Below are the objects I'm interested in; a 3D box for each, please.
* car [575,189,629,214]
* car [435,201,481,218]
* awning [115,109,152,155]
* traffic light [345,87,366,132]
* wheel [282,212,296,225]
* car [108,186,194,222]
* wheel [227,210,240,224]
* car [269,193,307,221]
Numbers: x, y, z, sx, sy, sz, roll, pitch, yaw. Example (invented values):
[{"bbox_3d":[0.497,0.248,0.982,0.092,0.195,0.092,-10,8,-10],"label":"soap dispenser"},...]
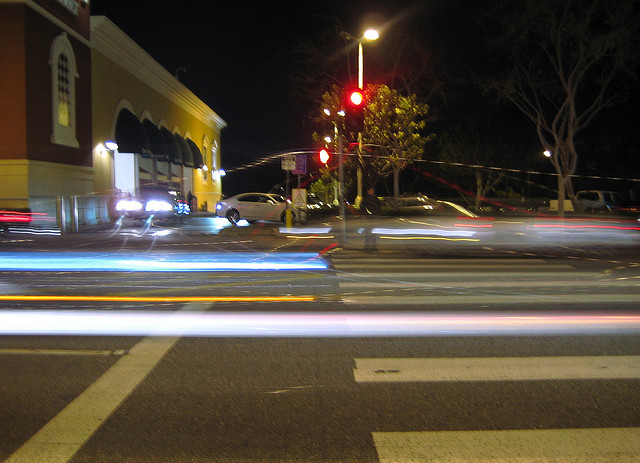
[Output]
[{"bbox_3d":[20.009,-2.197,39.640,2.622,1.362,4.423,3,9,20],"label":"car"},{"bbox_3d":[8.666,-1.400,34.628,0.963,0.967,3.262,-2,22,-24],"label":"car"},{"bbox_3d":[-11.556,-6.149,33.885,1.238,2.605,2.517,0,8,-1],"label":"awning"},{"bbox_3d":[0.995,-3.485,15.882,0.559,1.219,0.400,0,8,1],"label":"traffic light"},{"bbox_3d":[-1.377,-0.701,28.415,0.619,0.621,0.209,4,5,5],"label":"wheel"},{"bbox_3d":[-8.416,-1.226,28.271,2.162,1.355,4.240,-1,-2,-1],"label":"car"},{"bbox_3d":[-4.649,-0.829,29.689,0.653,0.684,0.400,7,10,39],"label":"wheel"},{"bbox_3d":[-1.474,-1.166,27.687,1.715,1.443,5.969,0,8,-4],"label":"car"}]
